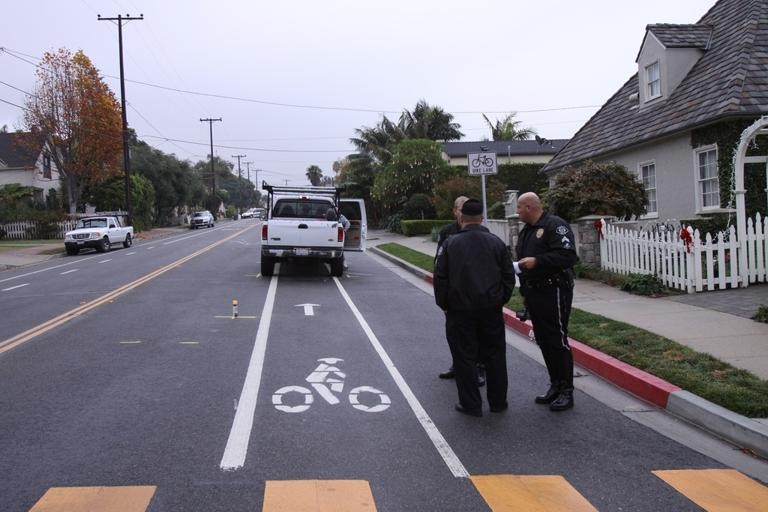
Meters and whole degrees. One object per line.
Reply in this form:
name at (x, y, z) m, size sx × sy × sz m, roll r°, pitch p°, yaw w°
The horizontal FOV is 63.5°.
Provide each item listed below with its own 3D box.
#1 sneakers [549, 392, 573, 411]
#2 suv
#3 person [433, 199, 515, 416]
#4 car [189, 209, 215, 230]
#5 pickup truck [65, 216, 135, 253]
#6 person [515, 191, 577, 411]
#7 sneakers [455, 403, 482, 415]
sneakers at (2.354, 1.902, 8.207) m, size 0.309 × 0.209 × 0.283 m, roll 3°, pitch 10°, yaw 16°
suv at (-2.376, -0.911, 20.184) m, size 2.608 × 2.258 × 3.959 m, roll 1°, pitch 11°, yaw -3°
person at (1.159, 0.664, 8.110) m, size 1.039 × 2.691 × 0.726 m, roll 2°, pitch 9°, yaw 10°
car at (-17.621, -3.486, 60.612) m, size 1.557 × 1.463 × 3.802 m, roll -1°, pitch -1°, yaw -3°
pickup truck at (-14.671, -1.093, 32.084) m, size 1.694 × 1.485 × 3.651 m, roll -2°, pitch 0°, yaw 1°
person at (2.166, 0.576, 8.338) m, size 0.868 × 2.785 × 0.770 m, roll 3°, pitch 10°, yaw 17°
sneakers at (1.102, 1.976, 8.055) m, size 0.306 × 0.142 × 0.133 m, roll 13°, pitch 15°, yaw 35°
